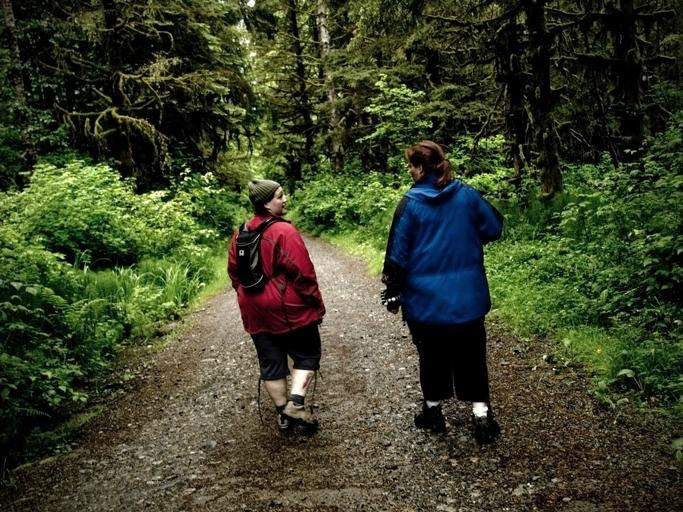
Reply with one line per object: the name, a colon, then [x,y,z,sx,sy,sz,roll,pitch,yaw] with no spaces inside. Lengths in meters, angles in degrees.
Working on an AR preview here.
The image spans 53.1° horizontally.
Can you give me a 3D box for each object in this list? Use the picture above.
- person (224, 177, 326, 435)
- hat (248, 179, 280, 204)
person: [-0.815,0.673,9.322,1.081,3.348,1.016,-12,17,-16]
hat: [-1.086,-0.878,9.292,0.370,0.294,0.304,-5,3,34]
